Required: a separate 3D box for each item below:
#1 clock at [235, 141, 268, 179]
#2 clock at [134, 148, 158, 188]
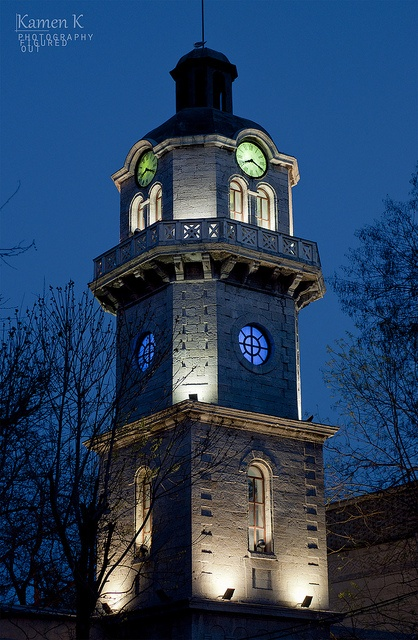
[{"bbox_3d":[1.264,-4.674,45.944,0.074,1.109,1.058,-27,-25,31],"label":"clock"},{"bbox_3d":[-1.799,-4.499,46.508,0.057,0.974,0.920,8,-25,-28],"label":"clock"}]
